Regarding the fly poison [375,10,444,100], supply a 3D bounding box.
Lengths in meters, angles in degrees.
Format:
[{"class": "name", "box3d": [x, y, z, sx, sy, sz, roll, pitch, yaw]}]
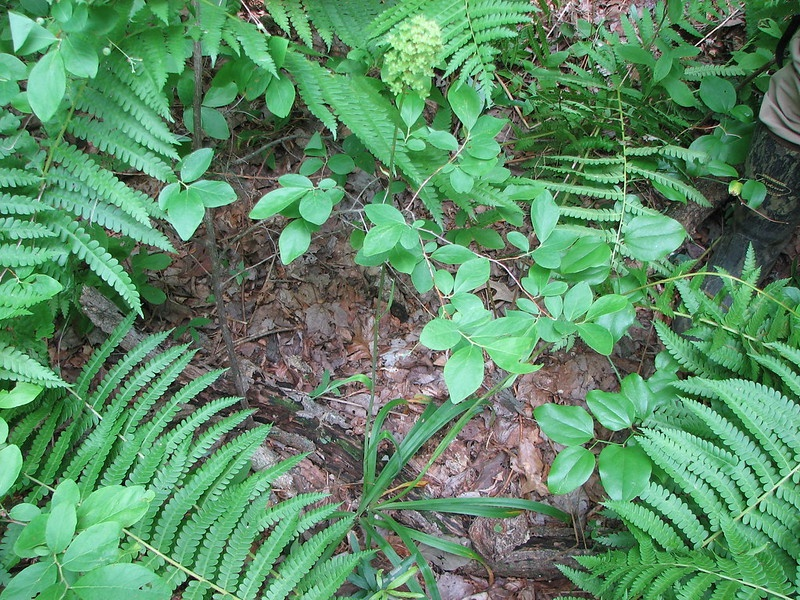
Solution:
[{"class": "fly poison", "box3d": [0.065, -0.931, 2.753, 0.277, 0.346, 0.335, 11, 29, -10]}]
